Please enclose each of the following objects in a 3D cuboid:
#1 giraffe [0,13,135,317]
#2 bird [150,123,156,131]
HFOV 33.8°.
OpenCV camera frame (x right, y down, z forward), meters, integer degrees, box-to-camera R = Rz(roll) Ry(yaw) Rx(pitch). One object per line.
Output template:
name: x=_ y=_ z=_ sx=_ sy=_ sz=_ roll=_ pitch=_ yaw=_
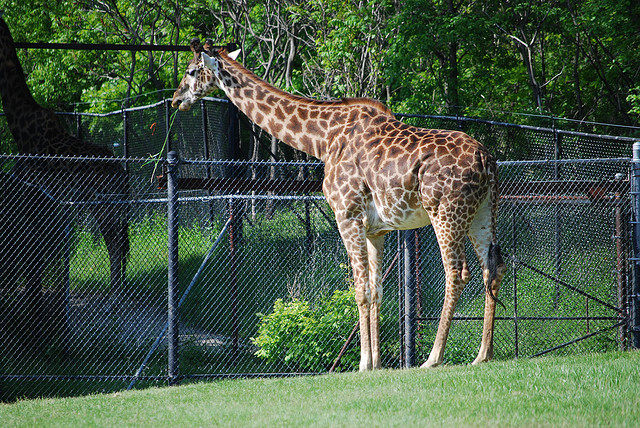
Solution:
giraffe: x=-5.994 y=-0.999 z=24.664 sx=3.270 sy=6.693 sz=7.955 roll=2 pitch=-2 yaw=-11
bird: x=-4.098 y=-2.161 z=25.927 sx=0.136 sy=0.180 sz=0.416 roll=3 pitch=-2 yaw=-12
